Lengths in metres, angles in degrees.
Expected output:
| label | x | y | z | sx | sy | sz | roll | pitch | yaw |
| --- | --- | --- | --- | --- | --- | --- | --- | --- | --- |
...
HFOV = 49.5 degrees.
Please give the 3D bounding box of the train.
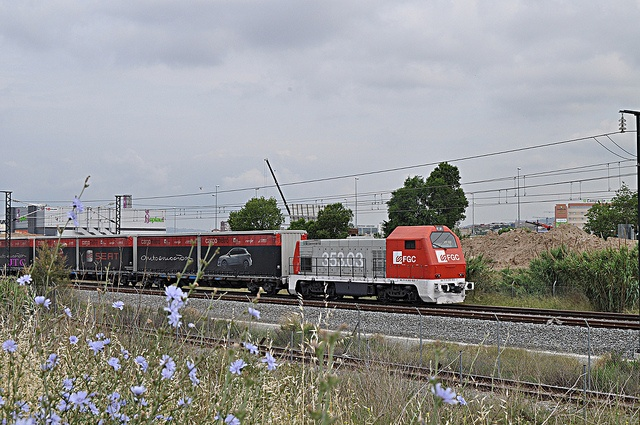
| label | x | y | z | sx | sy | sz | roll | pitch | yaw |
| --- | --- | --- | --- | --- | --- | --- | --- | --- | --- |
| train | -3.880 | 2.597 | 32.747 | 20.632 | 3.143 | 3.609 | -2 | -3 | 33 |
